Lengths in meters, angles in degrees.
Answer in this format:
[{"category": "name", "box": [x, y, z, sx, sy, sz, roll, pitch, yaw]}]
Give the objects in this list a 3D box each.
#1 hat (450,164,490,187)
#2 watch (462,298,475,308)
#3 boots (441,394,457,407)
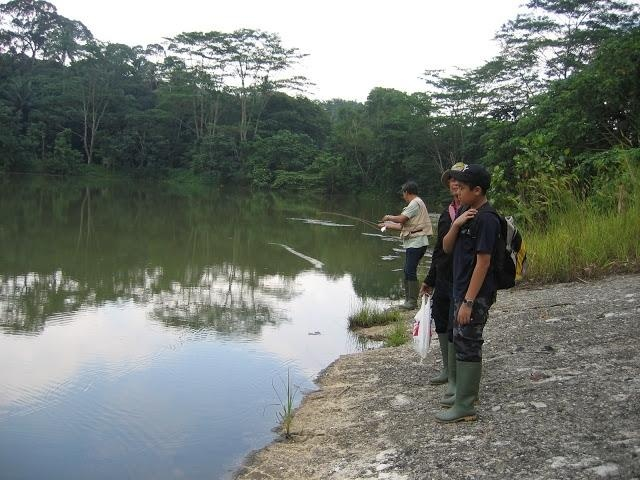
[{"category": "hat", "box": [1.361, -0.553, 5.284, 0.271, 0.159, 0.206, 20, 12, 7]}, {"category": "watch", "box": [1.289, 0.544, 5.101, 0.081, 0.050, 0.083, 31, -17, -3]}, {"category": "boots", "box": [1.199, 1.510, 5.519, 0.155, 0.106, 0.097, 4, -5, 4]}]
